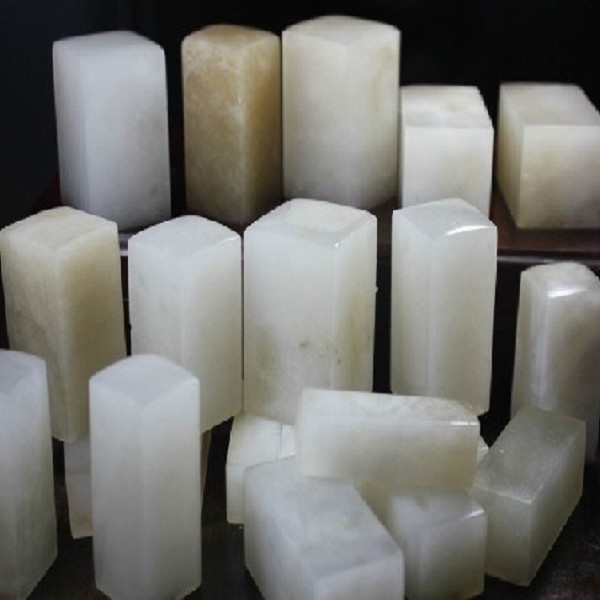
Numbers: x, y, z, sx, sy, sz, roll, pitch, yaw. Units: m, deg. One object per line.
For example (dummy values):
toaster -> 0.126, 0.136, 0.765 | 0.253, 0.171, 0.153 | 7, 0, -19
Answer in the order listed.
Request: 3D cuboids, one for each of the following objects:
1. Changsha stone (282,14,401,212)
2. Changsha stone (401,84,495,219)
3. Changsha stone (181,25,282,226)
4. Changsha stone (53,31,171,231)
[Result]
Changsha stone -> 0.023, -0.212, 0.829 | 0.138, 0.274, 0.159 | -2, 19, -6
Changsha stone -> 0.154, -0.158, 0.795 | 0.097, 0.113, 0.153 | 3, 21, 7
Changsha stone -> -0.072, -0.173, 0.773 | 0.080, 0.182, 0.100 | -6, 23, -9
Changsha stone -> -0.188, -0.160, 0.753 | 0.112, 0.180, 0.071 | -4, 18, -15
